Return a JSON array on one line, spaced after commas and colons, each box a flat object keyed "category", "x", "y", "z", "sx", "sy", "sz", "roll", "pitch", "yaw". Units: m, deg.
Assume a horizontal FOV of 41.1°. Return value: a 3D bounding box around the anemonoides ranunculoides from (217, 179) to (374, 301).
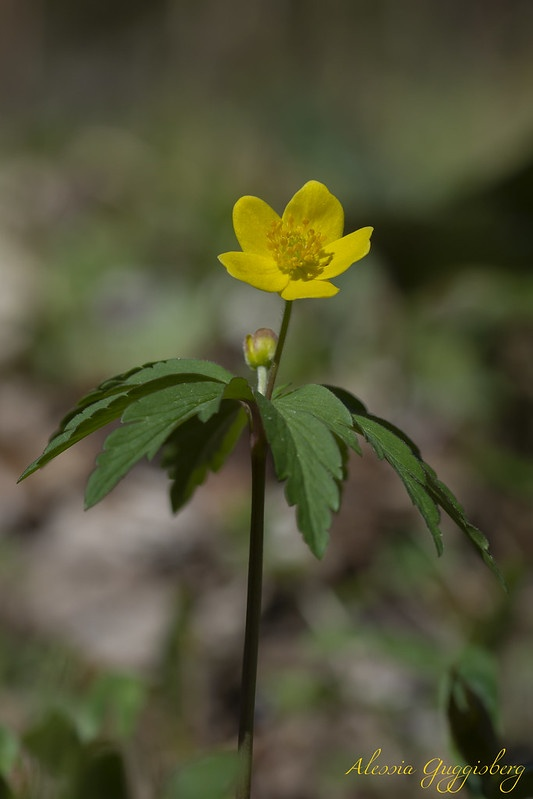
[{"category": "anemonoides ranunculoides", "x": 0.066, "y": -0.290, "z": 1.354, "sx": 0.252, "sy": 0.169, "sz": 0.238, "roll": 5, "pitch": 46, "yaw": 13}]
